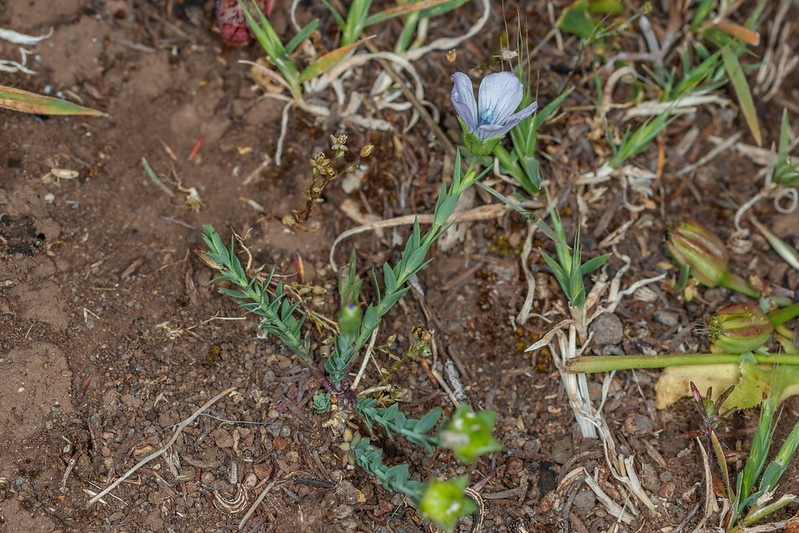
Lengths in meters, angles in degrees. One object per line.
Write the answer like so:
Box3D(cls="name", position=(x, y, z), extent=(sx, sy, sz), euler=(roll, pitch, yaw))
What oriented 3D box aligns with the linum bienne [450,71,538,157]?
Box3D(cls="linum bienne", position=(0.457, -0.806, 3.955), extent=(0.330, 0.556, 0.438), euler=(19, 35, 18))
